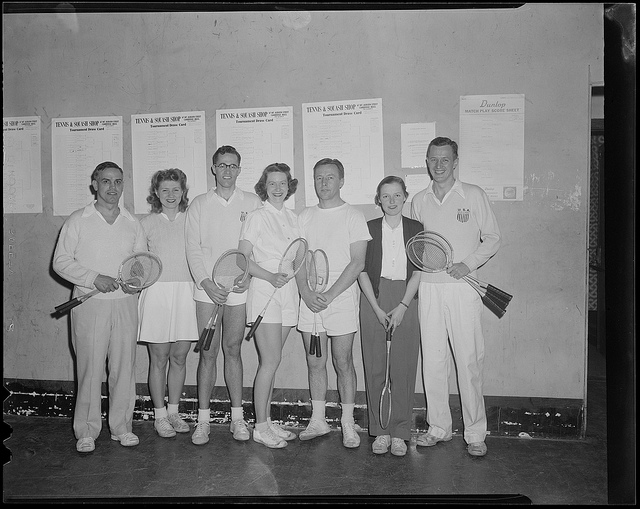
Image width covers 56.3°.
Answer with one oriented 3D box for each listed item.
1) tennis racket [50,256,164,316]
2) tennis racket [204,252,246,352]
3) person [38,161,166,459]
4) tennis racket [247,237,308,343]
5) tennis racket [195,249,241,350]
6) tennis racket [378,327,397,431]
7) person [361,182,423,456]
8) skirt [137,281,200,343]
[{"bbox_3d":[-1.710,0.258,4.855,0.996,0.460,0.056,-23,14,-34],"label":"tennis racket"},{"bbox_3d":[-0.787,0.305,4.967,0.295,0.989,0.092,19,-18,-28],"label":"tennis racket"},{"bbox_3d":[-1.805,0.433,5.059,0.826,2.425,0.502,-1,2,-18],"label":"person"},{"bbox_3d":[-0.337,0.267,4.894,0.501,0.809,0.377,0,2,-7],"label":"tennis racket"},{"bbox_3d":[-0.875,0.367,4.975,0.042,0.880,0.312,-7,-31,45],"label":"tennis racket"},{"bbox_3d":[0.552,1.034,4.867,0.154,0.865,0.292,0,2,5],"label":"tennis racket"},{"bbox_3d":[0.611,0.515,4.963,0.524,2.234,0.325,0,2,-1],"label":"person"},{"bbox_3d":[-1.268,0.498,5.353,0.649,0.756,0.452,1,-4,-15],"label":"skirt"}]
